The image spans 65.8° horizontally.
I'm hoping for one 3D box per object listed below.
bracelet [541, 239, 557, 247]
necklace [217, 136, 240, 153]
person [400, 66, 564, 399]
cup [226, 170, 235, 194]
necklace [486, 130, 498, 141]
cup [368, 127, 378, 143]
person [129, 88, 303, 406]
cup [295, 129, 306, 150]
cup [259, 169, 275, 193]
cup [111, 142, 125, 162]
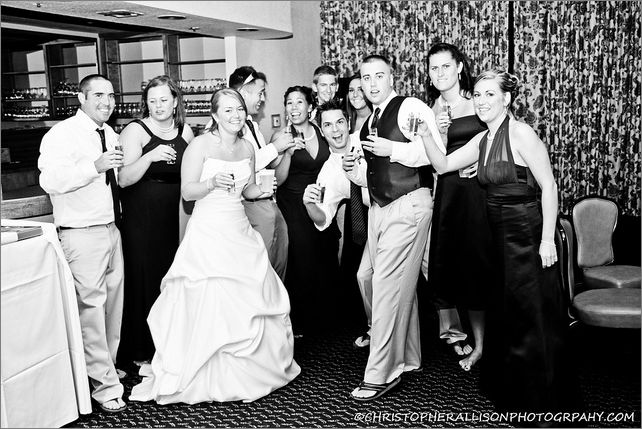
[{"bbox_3d":[1.599,0.195,3.507,0.089,0.038,0.042,4,14,19],"label":"bracelet"},{"bbox_3d":[-0.779,-0.579,4.119,0.084,0.134,0.031,-18,13,-22],"label":"necklace"},{"bbox_3d":[1.359,0.069,3.737,0.948,2.237,0.371,9,15,39],"label":"person"},{"bbox_3d":[-0.711,-0.260,3.879,0.064,0.041,0.172,-10,-31,-11],"label":"cup"},{"bbox_3d":[1.237,-0.576,3.638,0.039,0.068,0.031,-6,-29,33],"label":"necklace"},{"bbox_3d":[0.389,-0.598,3.750,0.072,0.105,0.103,0,13,3],"label":"cup"},{"bbox_3d":[-0.850,0.237,4.049,1.274,2.432,0.697,-2,12,-4],"label":"person"},{"bbox_3d":[-0.200,-0.672,4.489,0.095,0.166,0.076,0,-9,-38],"label":"cup"},{"bbox_3d":[-0.448,-0.285,4.153,0.154,0.194,0.163,1,7,0],"label":"cup"},{"bbox_3d":[-1.599,-0.484,3.864,0.088,0.167,0.098,-12,-1,-5],"label":"cup"}]
